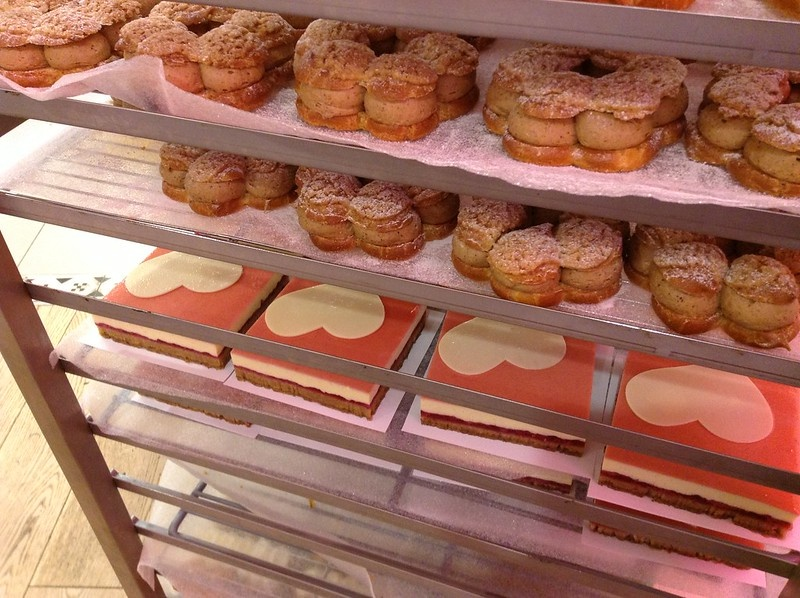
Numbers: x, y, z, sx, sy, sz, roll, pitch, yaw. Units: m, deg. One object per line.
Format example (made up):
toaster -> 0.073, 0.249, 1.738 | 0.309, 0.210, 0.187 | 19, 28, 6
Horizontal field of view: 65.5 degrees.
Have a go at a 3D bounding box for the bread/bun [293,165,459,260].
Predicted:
bread/bun -> -0.063, -0.196, 1.415 | 0.301, 0.085, 0.243 | 4, 32, 1

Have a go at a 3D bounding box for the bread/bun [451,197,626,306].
bread/bun -> 0.274, -0.100, 1.287 | 0.308, 0.082, 0.251 | 16, 43, 22

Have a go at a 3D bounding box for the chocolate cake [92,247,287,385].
chocolate cake -> -0.585, -0.007, 1.708 | 0.476, 0.111, 0.398 | 14, 45, 13
